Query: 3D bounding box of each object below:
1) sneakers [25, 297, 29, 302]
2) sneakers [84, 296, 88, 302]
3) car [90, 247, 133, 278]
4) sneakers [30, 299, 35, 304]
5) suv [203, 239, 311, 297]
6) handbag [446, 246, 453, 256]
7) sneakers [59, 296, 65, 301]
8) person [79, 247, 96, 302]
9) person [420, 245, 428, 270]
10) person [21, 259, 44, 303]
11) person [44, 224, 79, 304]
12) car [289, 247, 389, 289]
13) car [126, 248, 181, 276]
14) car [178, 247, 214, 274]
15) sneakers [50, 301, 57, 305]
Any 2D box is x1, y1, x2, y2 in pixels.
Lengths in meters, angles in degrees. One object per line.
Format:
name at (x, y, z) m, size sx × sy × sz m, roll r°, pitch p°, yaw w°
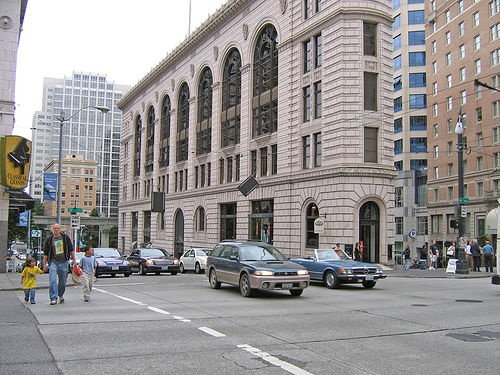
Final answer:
sneakers at (-7.287, 3.644, 18.912) m, size 0.102 × 0.123 × 0.106 m, roll -2°, pitch -8°, yaw 10°
sneakers at (-5.578, 3.775, 19.732) m, size 0.146 × 0.160 × 0.145 m, roll 1°, pitch -3°, yaw -7°
car at (-7.210, 3.748, 30.181) m, size 1.263 × 1.078 × 3.053 m, roll 3°, pitch -11°, yaw -27°
sneakers at (-7.132, 3.705, 18.978) m, size 0.088 × 0.108 × 0.242 m, roll 3°, pitch -15°, yaw -30°
suv at (0.196, 3.147, 22.351) m, size 1.747 × 2.095 × 4.219 m, roll 8°, pitch -12°, yaw -34°
handbag at (13.712, 4.261, 39.525) m, size 0.413 × 0.615 × 1.180 m, roll -1°, pitch -11°, yaw 19°
sneakers at (-6.279, 3.674, 19.298) m, size 0.142 × 0.189 × 0.435 m, roll 3°, pitch -18°, yaw -22°
person at (-5.674, 2.983, 20.177) m, size 0.556 × 1.901 × 1.354 m, roll 4°, pitch -10°, yaw -14°
person at (12.186, 4.871, 40.481) m, size 0.345 × 1.715 × 1.533 m, roll -2°, pitch -10°, yaw 20°
person at (-7.203, 3.057, 19.063) m, size 0.586 × 1.460 × 1.361 m, roll 5°, pitch -10°, yaw -21°
person at (-6.237, 2.451, 18.968) m, size 0.963 × 2.685 × 1.546 m, roll 4°, pitch -10°, yaw -16°
car at (3.538, 3.488, 25.181) m, size 1.637 × 1.130 × 3.485 m, roll 4°, pitch -10°, yaw -27°
car at (-5.521, 4.133, 32.638) m, size 2.807 × 1.566 × 1.651 m, roll -5°, pitch -12°, yaw 32°
car at (-3.454, 4.479, 35.982) m, size 1.455 × 1.222 × 3.286 m, roll 4°, pitch -12°, yaw -31°
sneakers at (-6.321, 3.680, 18.627) m, size 0.096 × 0.112 × 0.269 m, roll 3°, pitch -15°, yaw -23°
